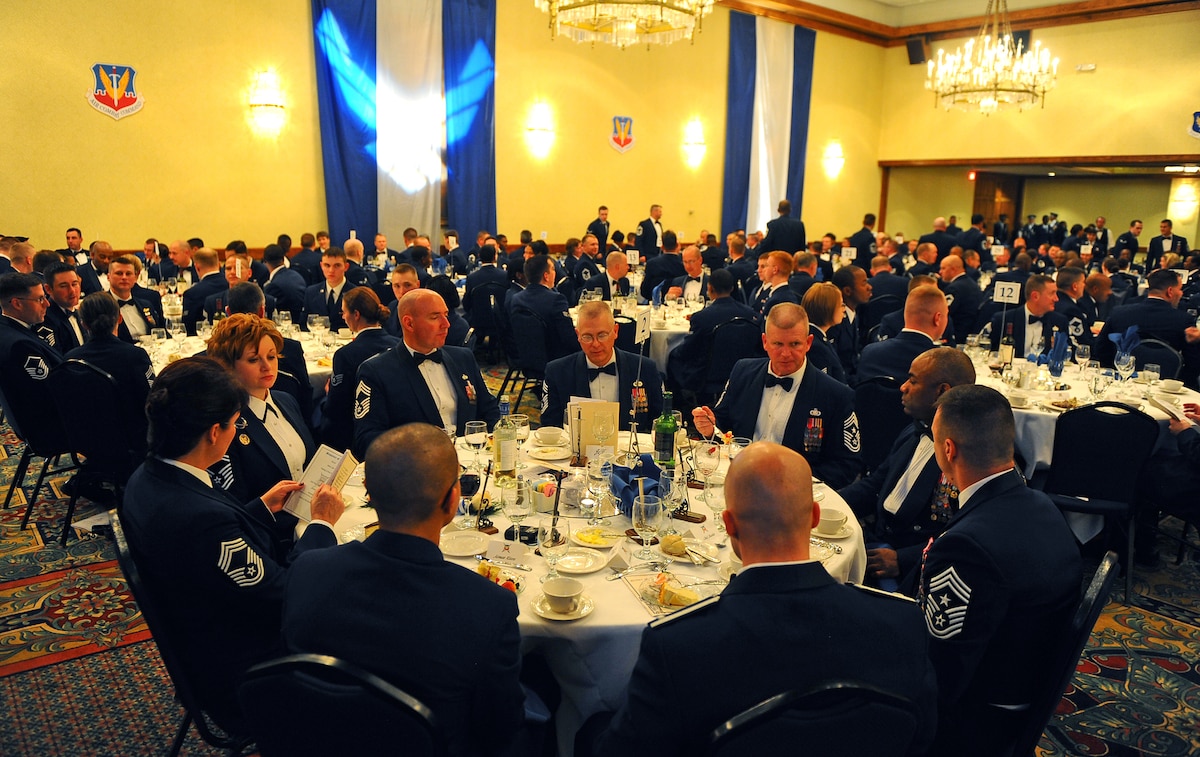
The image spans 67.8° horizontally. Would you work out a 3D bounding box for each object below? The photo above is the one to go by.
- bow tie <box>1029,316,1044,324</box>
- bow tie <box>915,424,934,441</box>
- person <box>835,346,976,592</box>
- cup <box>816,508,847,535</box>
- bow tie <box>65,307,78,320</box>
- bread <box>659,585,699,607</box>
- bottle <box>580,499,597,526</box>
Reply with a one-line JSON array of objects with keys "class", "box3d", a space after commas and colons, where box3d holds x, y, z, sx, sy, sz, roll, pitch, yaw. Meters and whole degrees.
[{"class": "bow tie", "box3d": [3.761, -0.507, 7.689, 0.075, 0.069, 0.020, 3, 2, 6]}, {"class": "bow tie", "box3d": [1.814, 0.304, 5.009, 0.059, 0.096, 0.093, -3, 53, 11]}, {"class": "person", "box3d": [1.842, 0.498, 5.051, 0.864, 1.327, 0.851, -4, 7, 15]}, {"class": "cup", "box3d": [1.179, 0.736, 4.552, 0.149, 0.090, 0.145, -2, 3, 0]}, {"class": "bow tie", "box3d": [-4.390, -0.541, 7.408, 0.107, 0.096, 0.102, 1, 6, -6]}, {"class": "bread", "box3d": [0.351, 1.008, 4.100, 0.141, 0.058, 0.087, -1, 2, 14]}, {"class": "bottle", "box3d": [-0.049, 0.699, 4.621, 0.103, 0.093, 0.102, -5, 5, 20]}]
